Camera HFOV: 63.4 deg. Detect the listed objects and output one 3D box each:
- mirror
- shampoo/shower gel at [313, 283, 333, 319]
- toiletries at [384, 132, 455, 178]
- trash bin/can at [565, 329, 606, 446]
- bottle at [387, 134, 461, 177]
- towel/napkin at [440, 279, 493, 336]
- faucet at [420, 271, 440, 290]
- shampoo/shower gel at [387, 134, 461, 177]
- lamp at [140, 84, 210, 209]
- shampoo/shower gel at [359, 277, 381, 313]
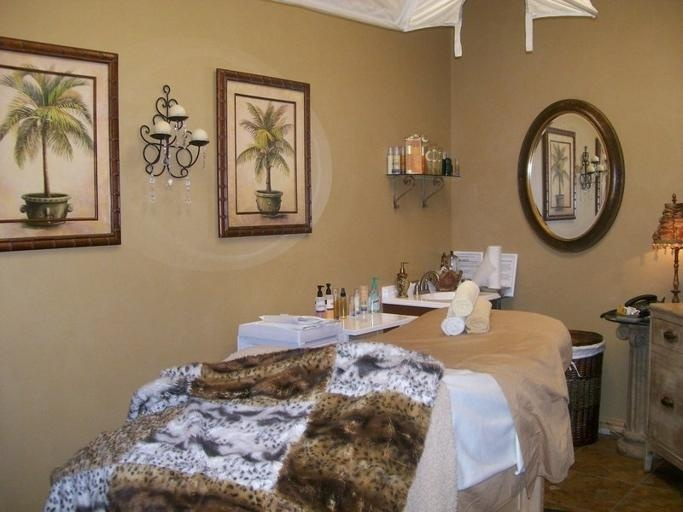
[{"bbox_3d":[1.691,-0.595,4.008,0.093,1.526,0.966,-3,4,-40],"label":"mirror"},{"bbox_3d":[-0.113,0.268,3.540,0.115,0.216,0.321,-1,7,-3],"label":"shampoo/shower gel"},{"bbox_3d":[0.569,-0.732,4.211,0.471,0.252,0.270,4,-7,-31],"label":"toiletries"},{"bbox_3d":[1.631,0.914,3.716,0.324,0.722,0.135,-5,8,-38],"label":"trash bin/can"},{"bbox_3d":[0.609,-0.708,4.286,0.647,0.331,0.236,4,-7,-38],"label":"bottle"},{"bbox_3d":[0.598,0.241,2.619,0.150,0.144,0.284,0,11,16],"label":"towel/napkin"},{"bbox_3d":[0.670,0.182,4.286,0.108,0.133,0.148,3,11,12],"label":"faucet"},{"bbox_3d":[0.598,-0.704,4.150,0.490,0.285,0.274,4,-6,-35],"label":"shampoo/shower gel"},{"bbox_3d":[-0.895,-0.611,2.969,0.361,0.643,0.208,-3,7,-24],"label":"lamp"},{"bbox_3d":[0.192,0.257,3.800,0.164,0.368,0.220,0,0,3],"label":"shampoo/shower gel"}]
